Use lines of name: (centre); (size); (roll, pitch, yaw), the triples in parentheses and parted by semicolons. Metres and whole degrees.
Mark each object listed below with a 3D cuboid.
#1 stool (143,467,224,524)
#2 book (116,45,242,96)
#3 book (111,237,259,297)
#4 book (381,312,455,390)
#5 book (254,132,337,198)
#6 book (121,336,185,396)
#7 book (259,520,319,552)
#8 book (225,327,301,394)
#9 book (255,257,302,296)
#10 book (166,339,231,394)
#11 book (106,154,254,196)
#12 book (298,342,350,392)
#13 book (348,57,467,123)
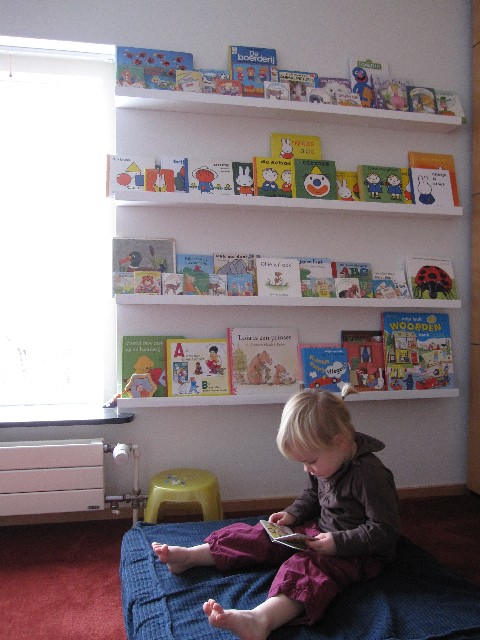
stool: (-0.208, 0.600, 1.951); (0.220, 0.160, 0.216); (1, -5, -4)
book: (-0.241, -0.994, 2.182); (0.498, 0.183, 0.072); (-3, 3, -13)
book: (-0.218, -0.214, 2.193); (0.578, 0.242, 0.118); (-3, 3, -13)
book: (0.758, 0.145, 2.375); (0.348, 0.389, 0.043); (1, -17, -7)
book: (0.215, -0.642, 2.284); (0.313, 0.283, 0.099); (2, -19, -9)
book: (-0.345, 0.190, 2.126); (0.236, 0.247, 0.036); (-1, -12, -6)
book: (0.110, 0.547, 1.334); (0.086, 0.041, 0.109); (8, -15, 46)
book: (0.082, 0.175, 2.222); (0.278, 0.242, 0.037); (0, -17, -15)
book: (0.149, -0.172, 2.238); (0.174, 0.149, 0.018); (0, -18, -12)
book: (-0.175, 0.193, 2.160); (0.225, 0.195, 0.030); (1, -18, -14)
book: (-0.227, -0.570, 2.164); (0.589, 0.159, 0.058); (-3, 3, -15)
book: (0.337, 0.200, 2.221); (0.203, 0.189, 0.033); (1, -13, -8)
book: (0.712, -1.008, 2.402); (0.401, 0.166, 0.007); (4, -28, -19)
